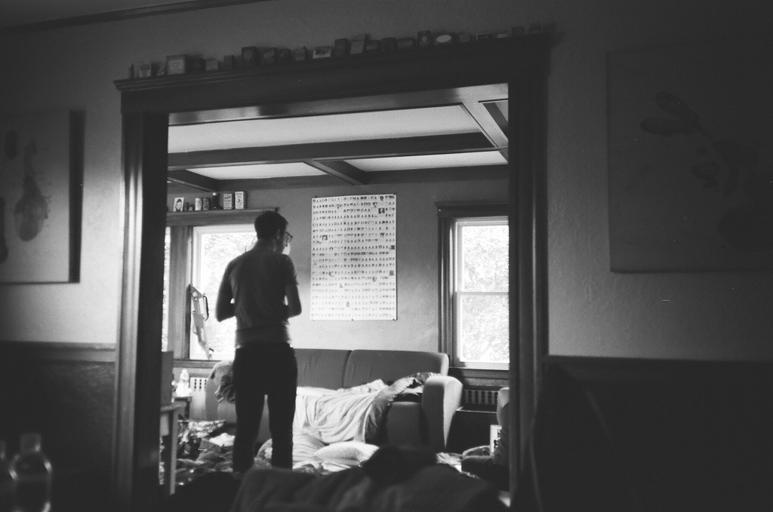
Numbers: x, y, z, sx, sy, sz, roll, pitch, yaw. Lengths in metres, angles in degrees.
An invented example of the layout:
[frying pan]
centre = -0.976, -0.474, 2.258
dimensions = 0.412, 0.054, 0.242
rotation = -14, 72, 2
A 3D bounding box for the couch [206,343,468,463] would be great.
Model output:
[couch]
centre = -0.443, 1.230, 5.712
dimensions = 2.238, 0.821, 0.763
rotation = -1, -6, 17

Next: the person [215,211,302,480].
[person]
centre = -0.762, 0.496, 3.783
dimensions = 0.508, 1.524, 0.265
rotation = 3, -6, 4
